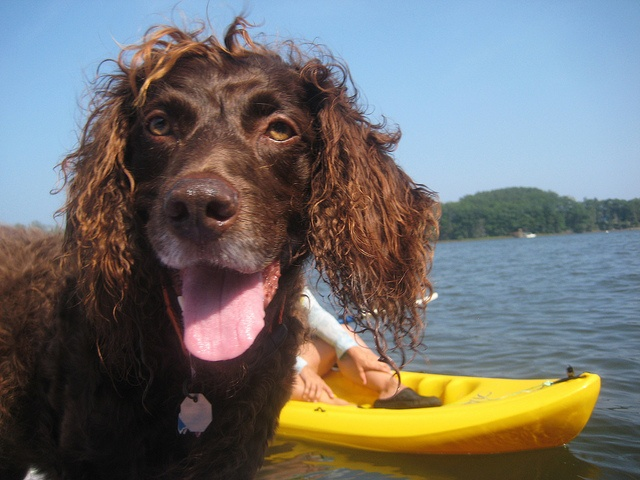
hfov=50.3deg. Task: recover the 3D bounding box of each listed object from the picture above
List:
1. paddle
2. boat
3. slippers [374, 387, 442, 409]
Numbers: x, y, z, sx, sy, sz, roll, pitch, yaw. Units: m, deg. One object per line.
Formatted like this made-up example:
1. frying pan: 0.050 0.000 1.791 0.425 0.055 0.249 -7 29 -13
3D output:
1. paddle: 0.432 0.465 4.765 0.812 0.111 0.101 -16 -49 10
2. boat: 1.170 1.664 6.349 3.545 0.712 1.133 -5 -3 33
3. slippers: 0.854 1.552 6.712 0.636 0.194 0.223 -4 -9 10
